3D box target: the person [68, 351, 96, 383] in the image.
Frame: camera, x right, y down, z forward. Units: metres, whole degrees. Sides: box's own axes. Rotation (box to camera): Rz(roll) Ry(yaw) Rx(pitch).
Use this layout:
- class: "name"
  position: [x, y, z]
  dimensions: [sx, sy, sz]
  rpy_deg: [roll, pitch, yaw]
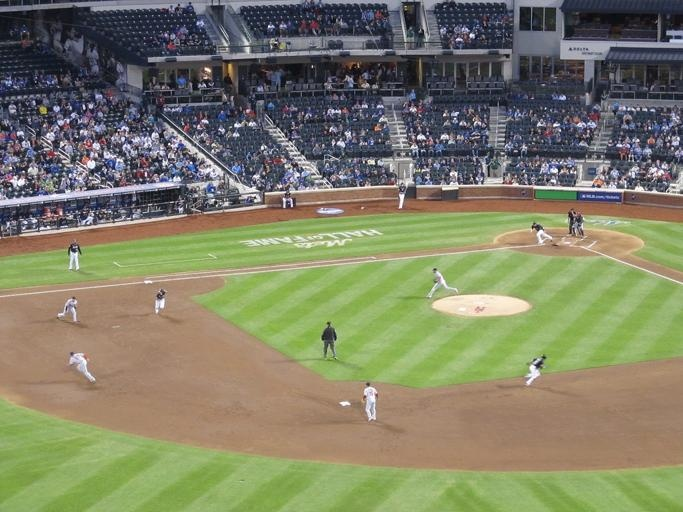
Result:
- class: "person"
  position: [-12.112, 5.059, 55.241]
  dimensions: [1.867, 0.592, 0.989]
  rpy_deg: [37, 29, 28]

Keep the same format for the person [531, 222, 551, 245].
- class: "person"
  position: [12.474, -1.441, 73.394]
  dimensions: [1.152, 1.319, 2.778]
  rpy_deg: [0, 8, 10]

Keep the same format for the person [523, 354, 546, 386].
- class: "person"
  position: [8.960, 5.178, 54.861]
  dimensions: [0.857, 1.336, 1.537]
  rpy_deg: [0, 9, 8]

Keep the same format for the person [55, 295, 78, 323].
- class: "person"
  position: [-14.333, 2.845, 61.870]
  dimensions: [1.214, 1.409, 0.645]
  rpy_deg: [21, 23, 18]

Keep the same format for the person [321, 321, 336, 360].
- class: "person"
  position: [-0.593, 3.992, 57.192]
  dimensions: [0.641, 1.758, 1.351]
  rpy_deg: [-2, 9, 0]
